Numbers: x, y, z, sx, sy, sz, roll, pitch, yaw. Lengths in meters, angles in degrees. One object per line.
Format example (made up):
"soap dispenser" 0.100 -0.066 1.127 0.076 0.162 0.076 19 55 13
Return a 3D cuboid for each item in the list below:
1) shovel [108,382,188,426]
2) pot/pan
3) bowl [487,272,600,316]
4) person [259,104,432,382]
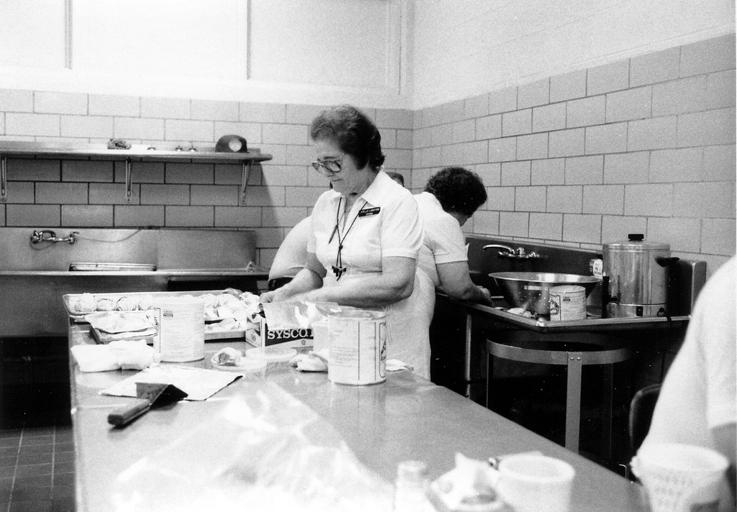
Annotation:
"shovel" -0.556 0.370 1.623 0.146 0.065 0.202 -1 5 2
"pot/pan" 1.116 0.086 2.708 0.346 0.381 0.239 -1 -1 23
"bowl" 0.827 0.144 2.964 0.302 0.099 0.290 -1 2 0
"person" -0.063 -0.024 2.735 0.660 1.190 0.701 -1 6 6
